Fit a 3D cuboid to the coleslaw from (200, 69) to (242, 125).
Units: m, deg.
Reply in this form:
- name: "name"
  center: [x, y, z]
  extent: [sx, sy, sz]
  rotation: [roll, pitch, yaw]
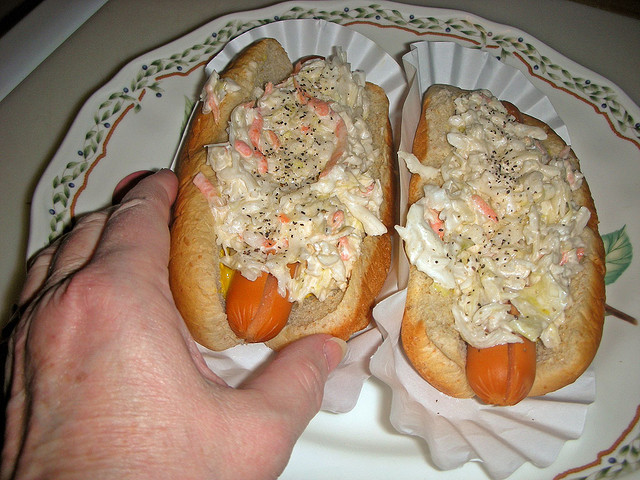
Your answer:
- name: "coleslaw"
  center: [-0.762, -1.113, 4.289]
  extent: [0.263, 0.396, 0.267]
  rotation: [18, 35, 28]
